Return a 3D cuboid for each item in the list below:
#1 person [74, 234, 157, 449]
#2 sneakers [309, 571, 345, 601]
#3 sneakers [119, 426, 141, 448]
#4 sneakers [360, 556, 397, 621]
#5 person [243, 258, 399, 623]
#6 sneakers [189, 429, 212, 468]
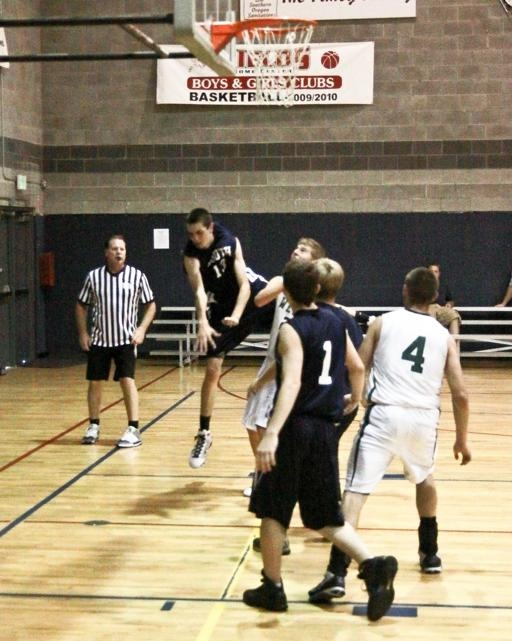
[{"bbox_3d":[-1.169,0.039,7.948,0.578,1.505,2.794,-1,5,-9],"label":"person"},{"bbox_3d":[0.296,1.122,4.018,0.045,0.103,0.134,29,-39,-12],"label":"sneakers"},{"bbox_3d":[-0.892,0.815,6.715,0.133,0.127,0.208,2,5,17],"label":"sneakers"},{"bbox_3d":[0.471,1.059,3.767,0.146,0.284,0.093,1,5,9],"label":"sneakers"},{"bbox_3d":[0.240,0.484,3.873,0.594,1.462,0.438,0,5,-3],"label":"person"},{"bbox_3d":[-0.335,0.753,5.770,0.092,0.160,0.275,6,29,8],"label":"sneakers"}]
